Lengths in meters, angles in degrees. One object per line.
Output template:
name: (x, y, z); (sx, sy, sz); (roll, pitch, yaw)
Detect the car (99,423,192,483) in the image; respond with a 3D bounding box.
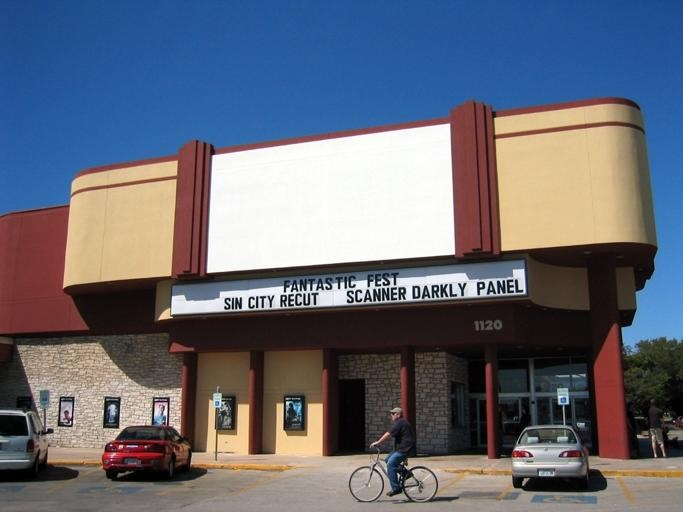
car: (-7.030, 7.127, 22.907); (2.070, 1.894, 2.953); (-4, -17, 6)

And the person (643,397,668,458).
person: (13.422, 7.332, 26.766); (0.617, 2.412, 0.735); (12, -27, -17)

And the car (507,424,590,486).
car: (6.511, 6.225, 19.516); (1.429, 1.234, 2.767); (-2, -8, 12)
